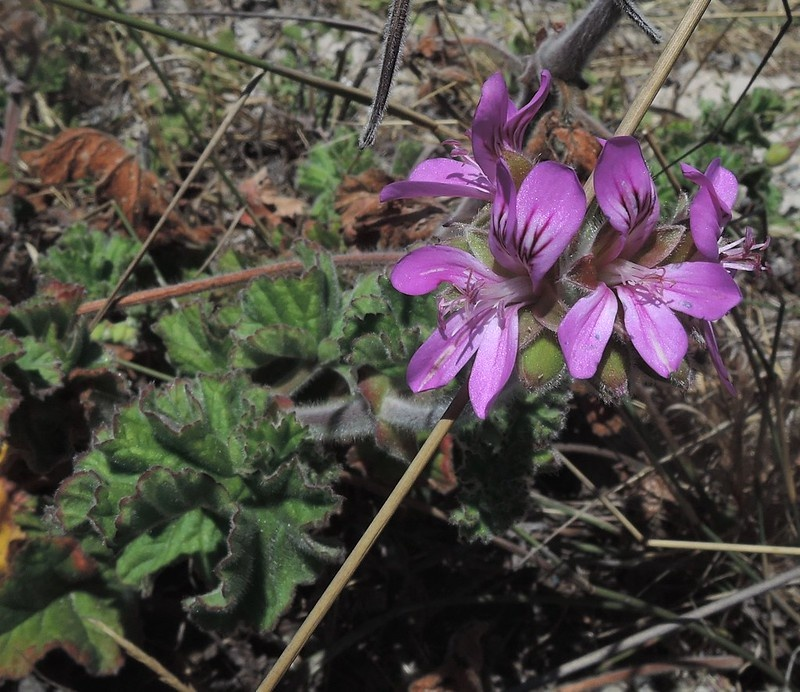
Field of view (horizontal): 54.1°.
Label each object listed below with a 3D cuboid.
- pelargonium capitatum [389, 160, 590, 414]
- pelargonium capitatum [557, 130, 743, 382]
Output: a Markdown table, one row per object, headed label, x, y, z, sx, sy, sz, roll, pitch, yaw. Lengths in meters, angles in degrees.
| label | x | y | z | sx | sy | sz | roll | pitch | yaw |
| --- | --- | --- | --- | --- | --- | --- | --- | --- | --- |
| pelargonium capitatum | 0.237 | -0.143 | 1.667 | 0.225 | 0.485 | 0.442 | -13 | 14 | -43 |
| pelargonium capitatum | 0.494 | -0.184 | 1.619 | 0.456 | 0.212 | 0.481 | 21 | 46 | -43 |
